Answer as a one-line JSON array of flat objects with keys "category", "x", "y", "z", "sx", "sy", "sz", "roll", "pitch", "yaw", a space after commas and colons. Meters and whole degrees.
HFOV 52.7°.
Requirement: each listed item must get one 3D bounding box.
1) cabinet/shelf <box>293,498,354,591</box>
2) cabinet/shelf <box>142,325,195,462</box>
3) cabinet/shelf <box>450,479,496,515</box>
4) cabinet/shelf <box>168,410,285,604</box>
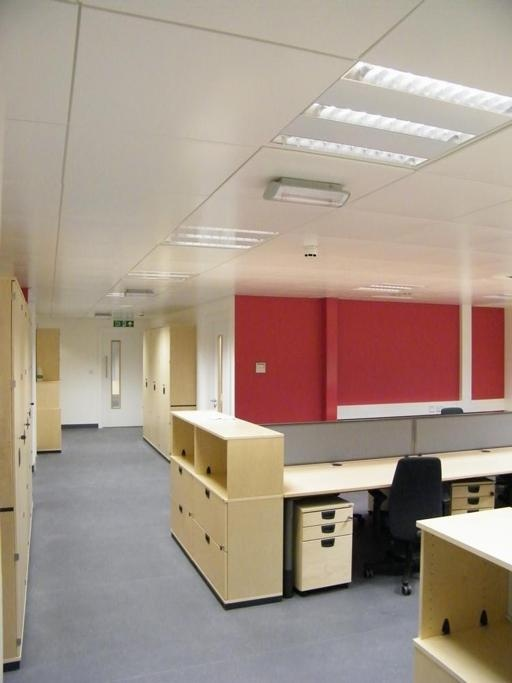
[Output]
[{"category": "cabinet/shelf", "x": 0.489, "y": 1.591, "z": 4.206, "sx": 0.469, "sy": 0.912, "sz": 0.570, "roll": 0, "pitch": -2, "yaw": -17}, {"category": "cabinet/shelf", "x": -1.490, "y": 0.869, "z": 8.999, "sx": 0.468, "sy": 2.199, "sz": 1.841, "roll": 0, "pitch": 13, "yaw": -13}, {"category": "cabinet/shelf", "x": 1.978, "y": 1.429, "z": 4.811, "sx": 0.341, "sy": 0.329, "sz": 0.386, "roll": 0, "pitch": -6, "yaw": -8}, {"category": "cabinet/shelf", "x": -0.284, "y": 1.342, "z": 4.427, "sx": 0.491, "sy": 1.268, "sz": 1.522, "roll": 0, "pitch": -1, "yaw": -25}]
